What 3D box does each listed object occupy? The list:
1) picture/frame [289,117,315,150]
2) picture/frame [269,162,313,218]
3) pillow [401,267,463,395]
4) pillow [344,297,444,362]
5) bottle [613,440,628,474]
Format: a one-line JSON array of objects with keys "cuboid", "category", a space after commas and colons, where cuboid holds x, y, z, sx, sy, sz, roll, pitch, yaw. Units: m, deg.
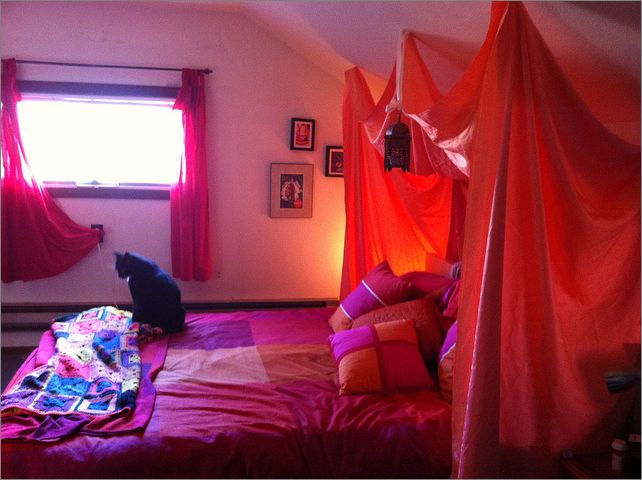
[{"cuboid": [-0.174, -0.942, 4.320, 0.252, 0.359, 0.034, 0, 8, -17], "category": "picture/frame"}, {"cuboid": [-0.282, -0.462, 4.364, 0.429, 0.617, 0.042, 0, 6, -9], "category": "picture/frame"}, {"cuboid": [0.654, 0.444, 2.702, 0.140, 0.515, 0.457, 8, 23, -14], "category": "pillow"}, {"cuboid": [0.505, 0.442, 2.670, 0.330, 0.160, 0.349, -19, 16, 19], "category": "pillow"}, {"cuboid": [1.143, 0.823, 1.900, 0.046, 0.140, 0.086, 9, 14, 35], "category": "bottle"}]
